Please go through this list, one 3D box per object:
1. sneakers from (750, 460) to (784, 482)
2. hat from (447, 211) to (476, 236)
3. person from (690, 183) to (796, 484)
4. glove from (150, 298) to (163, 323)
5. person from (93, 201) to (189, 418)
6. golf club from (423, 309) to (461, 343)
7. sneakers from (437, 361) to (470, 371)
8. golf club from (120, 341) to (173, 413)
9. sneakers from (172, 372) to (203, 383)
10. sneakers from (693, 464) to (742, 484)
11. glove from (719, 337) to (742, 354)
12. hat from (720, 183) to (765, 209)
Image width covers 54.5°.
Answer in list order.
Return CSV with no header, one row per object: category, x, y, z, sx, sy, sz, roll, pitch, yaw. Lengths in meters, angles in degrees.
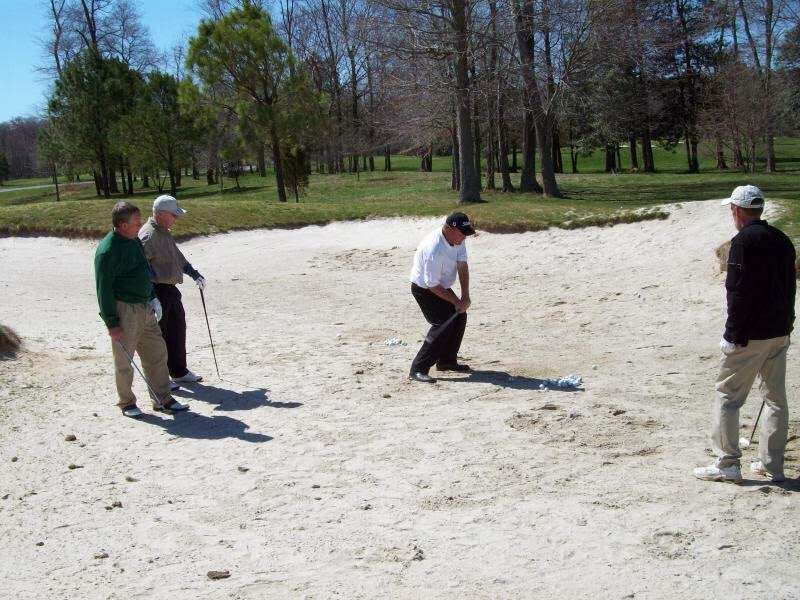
sneakers,3.259,1.524,6.949,0.131,0.114,0.284,-10,28,-42
hat,0.739,-0.979,9.926,0.333,0.334,0.814,-3,13,3
person,3.110,0.282,6.954,0.726,2.556,1.016,3,18,26
glove,-2.880,0.108,9.221,0.098,0.233,0.183,-22,11,6
person,-3.102,0.125,8.895,0.647,2.453,0.454,-13,18,-25
golf club,0.544,0.324,9.935,0.530,0.336,0.214,-11,16,-29
sneakers,0.714,0.860,10.357,0.467,0.153,0.139,-2,3,1
golf club,-3.016,0.907,9.199,0.064,1.115,0.153,-41,14,15
sneakers,-2.798,1.011,10.247,0.404,0.134,0.124,-3,13,-13
sneakers,2.854,1.544,6.996,0.334,0.106,0.163,3,1,24
glove,2.958,0.399,6.985,0.164,0.115,0.117,-1,11,-6
hat,3.103,-0.937,7.096,0.359,0.195,0.405,-3,10,-18
